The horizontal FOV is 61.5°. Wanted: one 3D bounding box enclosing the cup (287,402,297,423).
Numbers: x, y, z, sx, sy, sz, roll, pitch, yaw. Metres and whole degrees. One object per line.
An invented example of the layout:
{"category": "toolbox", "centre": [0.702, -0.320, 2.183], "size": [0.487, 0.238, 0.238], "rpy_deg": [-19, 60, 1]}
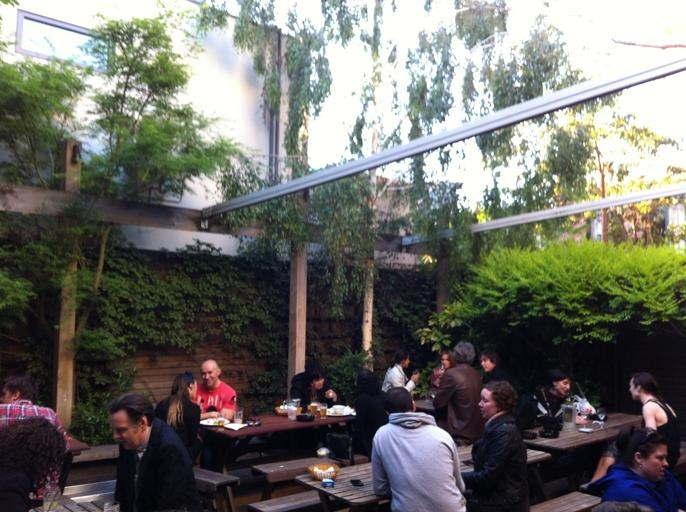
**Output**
{"category": "cup", "centre": [-0.717, 2.222, 8.202], "size": [0.160, 0.198, 0.162], "rpy_deg": [0, -11, 0]}

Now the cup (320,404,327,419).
{"category": "cup", "centre": [-0.276, 2.216, 8.210], "size": [0.115, 0.210, 0.126], "rpy_deg": [-1, -8, 0]}

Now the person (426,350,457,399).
{"category": "person", "centre": [1.650, 2.005, 9.706], "size": [0.301, 0.791, 0.416], "rpy_deg": [7, -2, 10]}

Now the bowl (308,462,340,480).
{"category": "bowl", "centre": [-0.184, 2.321, 6.229], "size": [0.254, 0.140, 0.414], "rpy_deg": [-6, -14, 32]}
